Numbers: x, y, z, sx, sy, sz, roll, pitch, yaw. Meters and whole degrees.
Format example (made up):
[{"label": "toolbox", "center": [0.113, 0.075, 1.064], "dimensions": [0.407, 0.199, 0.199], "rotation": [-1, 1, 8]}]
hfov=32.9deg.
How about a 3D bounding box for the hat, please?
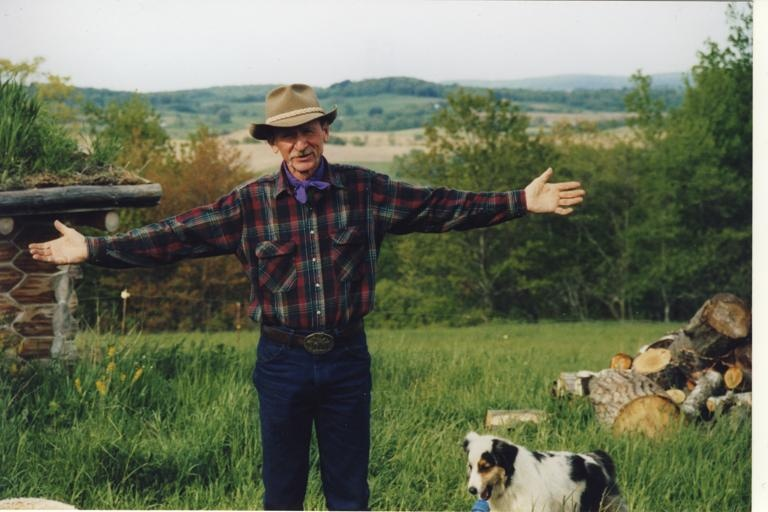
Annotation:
[{"label": "hat", "center": [-0.808, -1.264, 11.418], "dimensions": [0.752, 0.467, 0.340], "rotation": [-2, 1, -8]}]
